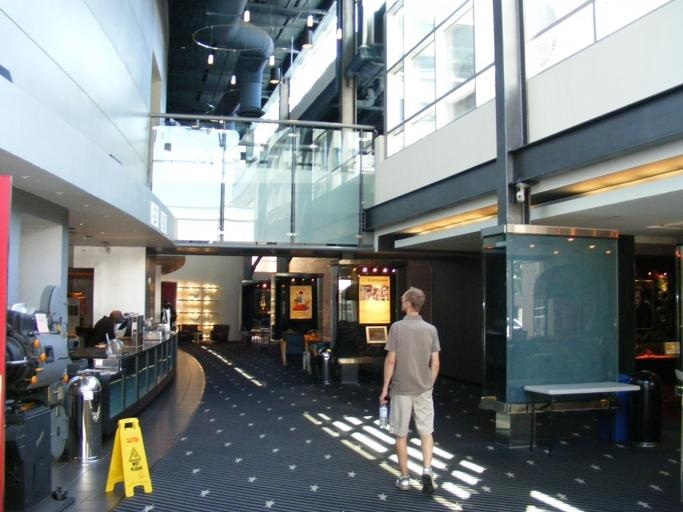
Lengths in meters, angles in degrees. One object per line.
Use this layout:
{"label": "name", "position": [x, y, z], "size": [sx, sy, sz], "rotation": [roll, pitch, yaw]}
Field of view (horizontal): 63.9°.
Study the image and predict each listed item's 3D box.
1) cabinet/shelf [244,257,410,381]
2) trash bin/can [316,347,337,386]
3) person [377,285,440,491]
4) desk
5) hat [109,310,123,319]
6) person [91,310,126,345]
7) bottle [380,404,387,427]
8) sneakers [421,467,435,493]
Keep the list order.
{"label": "cabinet/shelf", "position": [0.302, 1.714, 14.705], "size": [3.512, 2.339, 3.634], "rotation": [0, 1, -9]}
{"label": "trash bin/can", "position": [-0.360, 2.739, 13.855], "size": [0.479, 0.838, 0.544], "rotation": [0, 3, -13]}
{"label": "person", "position": [0.815, 1.534, 6.348], "size": [0.724, 2.319, 0.560], "rotation": [7, -7, 4]}
{"label": "desk", "position": [3.286, 2.299, 7.833], "size": [1.313, 0.839, 0.741], "rotation": [-2, -23, 8]}
{"label": "hat", "position": [-4.458, 1.160, 10.800], "size": [0.224, 0.172, 0.232], "rotation": [4, -6, -15]}
{"label": "person", "position": [-4.679, 1.442, 10.955], "size": [0.503, 0.748, 1.015], "rotation": [12, -9, -29]}
{"label": "bottle", "position": [0.472, 1.805, 6.203], "size": [0.074, 0.255, 0.176], "rotation": [7, -7, 2]}
{"label": "sneakers", "position": [0.979, 2.544, 6.230], "size": [0.114, 0.138, 0.303], "rotation": [-2, -43, 11]}
